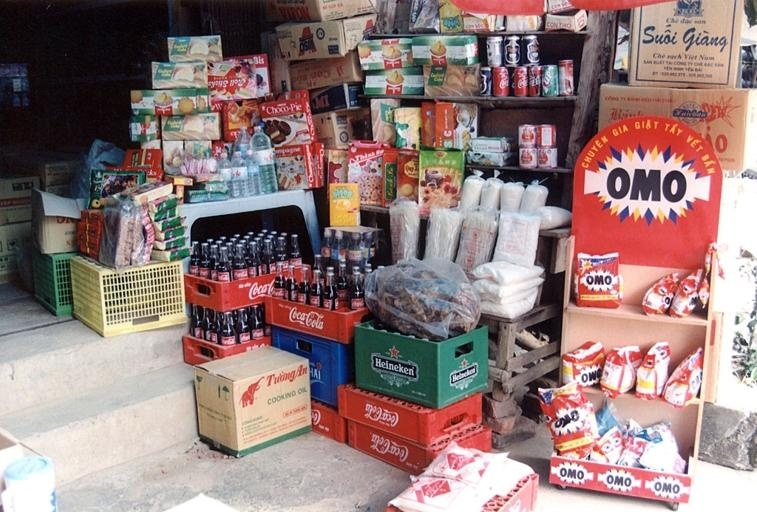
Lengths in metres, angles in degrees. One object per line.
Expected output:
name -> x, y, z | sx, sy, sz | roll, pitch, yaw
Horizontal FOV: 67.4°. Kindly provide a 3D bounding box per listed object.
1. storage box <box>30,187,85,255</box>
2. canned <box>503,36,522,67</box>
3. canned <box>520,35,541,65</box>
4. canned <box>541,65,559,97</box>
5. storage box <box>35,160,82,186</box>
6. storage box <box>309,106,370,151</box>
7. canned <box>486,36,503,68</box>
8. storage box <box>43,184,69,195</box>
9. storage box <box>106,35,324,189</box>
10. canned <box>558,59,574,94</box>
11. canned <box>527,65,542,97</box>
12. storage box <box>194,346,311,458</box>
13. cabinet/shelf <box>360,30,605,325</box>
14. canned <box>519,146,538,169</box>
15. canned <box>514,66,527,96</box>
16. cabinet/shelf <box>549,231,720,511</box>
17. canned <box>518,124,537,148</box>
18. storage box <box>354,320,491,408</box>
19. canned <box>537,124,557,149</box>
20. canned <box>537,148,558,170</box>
storage box -> -2.543, -0.268, 4.479 | 0.478, 0.495, 0.312 | -5, 15, -10
canned -> 1.018, -1.556, 4.322 | 0.131, 0.222, 0.051 | 2, 16, 16
canned -> 1.137, -1.546, 4.266 | 0.122, 0.210, 0.054 | 0, 15, 9
canned -> 1.271, -1.287, 4.186 | 0.120, 0.222, 0.059 | 4, 16, 24
storage box -> -3.037, -0.782, 5.349 | 0.284, 0.149, 0.387 | -11, 24, -33
storage box -> -0.294, -1.191, 5.326 | 0.476, 0.286, 0.481 | -5, 12, -13
canned -> 0.899, -1.568, 4.359 | 0.124, 0.226, 0.064 | 0, 15, 8
storage box -> -3.033, -0.624, 5.352 | 0.166, 0.069, 0.117 | 3, 2, 34
storage box -> -1.308, -1.224, 4.880 | 1.588, 1.376, 0.553 | -4, 9, 13
canned -> 1.410, -1.309, 4.181 | 0.150, 0.246, 0.107 | -11, 17, -29
canned -> 1.180, -1.313, 4.260 | 0.071, 0.231, 0.099 | -6, 15, -12
storage box -> -0.898, 1.034, 4.105 | 0.547, 0.495, 0.725 | 4, 5, 43
cabinet/shelf -> 0.835, -0.563, 4.196 | 2.215, 2.031, 0.704 | 9, 8, 31
canned -> 1.133, -0.739, 4.276 | 0.153, 0.164, 0.153 | 3, 9, 19
canned -> 1.078, -1.317, 4.295 | 0.108, 0.220, 0.071 | 2, 16, 15
cabinet/shelf -> 1.651, 0.674, 3.561 | 0.970, 1.545, 0.892 | 4, 16, 22
canned -> 1.123, -0.903, 4.263 | 0.162, 0.172, 0.160 | -3, 14, -9
storage box -> 0.340, 0.535, 3.745 | 0.748, 0.397, 0.550 | 13, 18, 42
canned -> 1.272, -0.886, 4.241 | 0.162, 0.178, 0.163 | 13, 18, 43
canned -> 1.269, -0.741, 4.264 | 0.133, 0.155, 0.132 | 2, 16, 15
